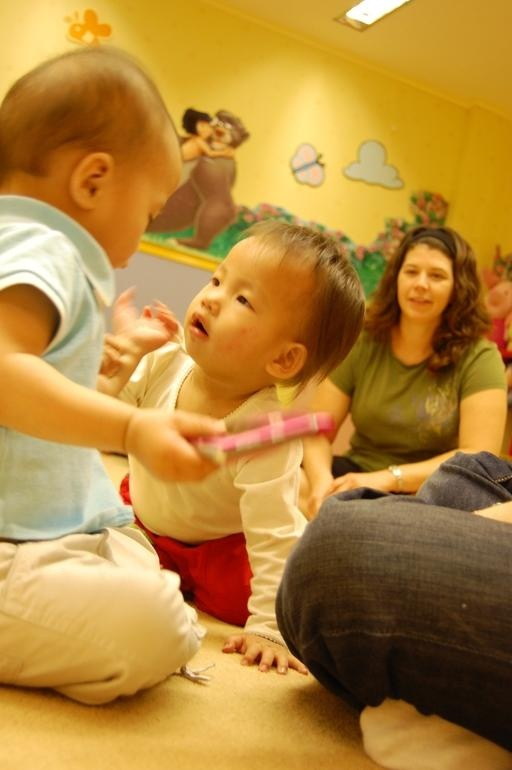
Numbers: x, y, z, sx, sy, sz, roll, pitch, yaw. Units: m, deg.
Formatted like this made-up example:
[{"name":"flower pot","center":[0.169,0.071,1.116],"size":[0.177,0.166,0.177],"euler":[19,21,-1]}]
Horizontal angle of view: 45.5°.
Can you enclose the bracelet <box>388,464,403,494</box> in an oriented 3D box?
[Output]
[{"name":"bracelet","center":[0.332,0.214,1.429],"size":[0.018,0.035,0.047],"euler":[-1,20,-8]}]
